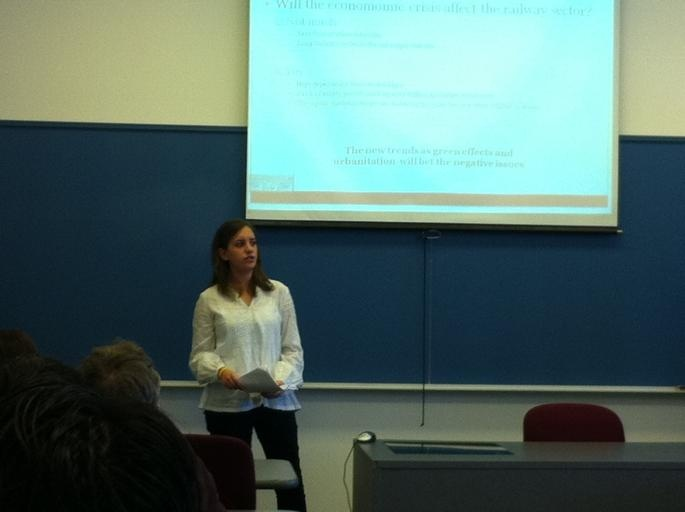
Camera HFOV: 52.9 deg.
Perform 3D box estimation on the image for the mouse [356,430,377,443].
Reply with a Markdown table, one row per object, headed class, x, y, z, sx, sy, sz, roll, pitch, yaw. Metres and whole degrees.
| class | x | y | z | sx | sy | sz | roll | pitch | yaw |
| --- | --- | --- | --- | --- | --- | --- | --- | --- | --- |
| mouse | 0.109 | 0.791 | 3.009 | 0.093 | 0.044 | 0.072 | 0 | 4 | -41 |
